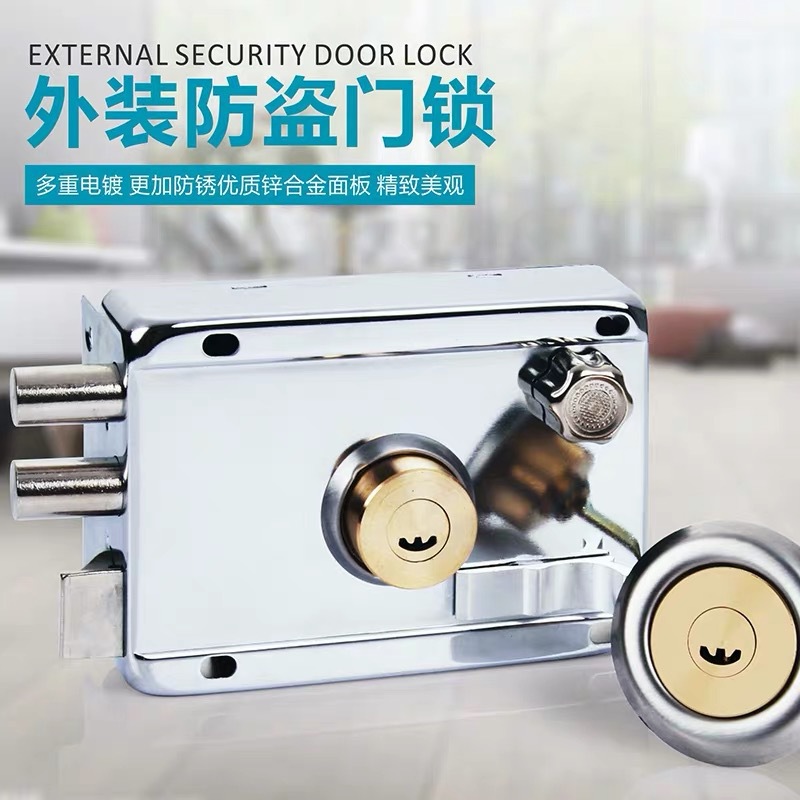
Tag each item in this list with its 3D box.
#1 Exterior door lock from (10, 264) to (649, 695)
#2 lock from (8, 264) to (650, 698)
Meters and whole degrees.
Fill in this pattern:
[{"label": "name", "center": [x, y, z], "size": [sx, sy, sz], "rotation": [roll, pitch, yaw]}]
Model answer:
[{"label": "Exterior door lock", "center": [-0.025, 0.046, 0.495], "size": [0.284, 0.155, 0.099], "rotation": [0, 3, -17]}, {"label": "lock", "center": [-0.026, 0.045, 0.498], "size": [0.282, 0.154, 0.105], "rotation": [-1, 6, -16]}]
